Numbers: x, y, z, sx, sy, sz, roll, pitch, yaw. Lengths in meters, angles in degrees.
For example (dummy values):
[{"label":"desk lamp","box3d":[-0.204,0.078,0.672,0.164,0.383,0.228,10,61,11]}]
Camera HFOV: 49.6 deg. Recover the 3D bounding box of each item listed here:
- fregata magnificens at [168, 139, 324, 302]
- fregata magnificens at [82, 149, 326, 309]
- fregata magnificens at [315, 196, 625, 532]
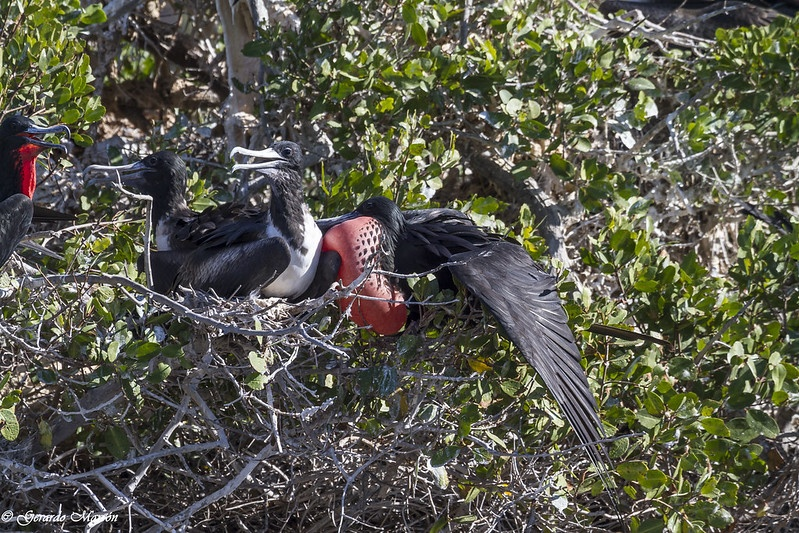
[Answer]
[{"label":"fregata magnificens","box3d":[-0.845,-0.212,4.619,0.934,0.908,0.730,4,15,4]},{"label":"fregata magnificens","box3d":[-0.986,-0.219,4.612,1.253,0.857,0.554,1,12,17]},{"label":"fregata magnificens","box3d":[0.472,0.440,4.271,1.545,0.751,1.958,3,7,-15]}]
